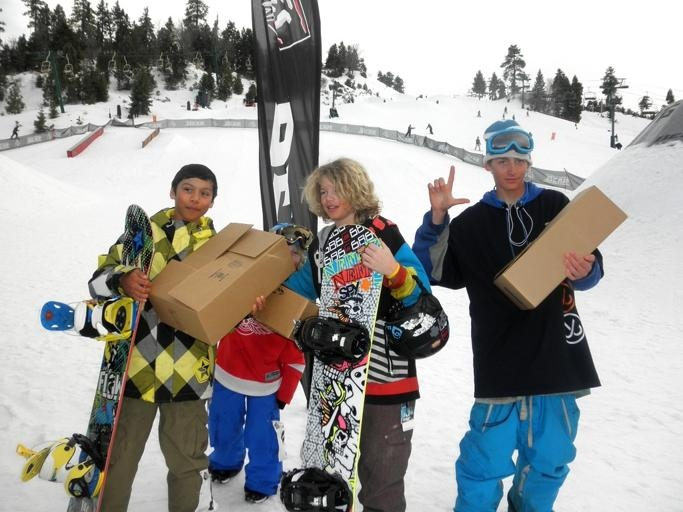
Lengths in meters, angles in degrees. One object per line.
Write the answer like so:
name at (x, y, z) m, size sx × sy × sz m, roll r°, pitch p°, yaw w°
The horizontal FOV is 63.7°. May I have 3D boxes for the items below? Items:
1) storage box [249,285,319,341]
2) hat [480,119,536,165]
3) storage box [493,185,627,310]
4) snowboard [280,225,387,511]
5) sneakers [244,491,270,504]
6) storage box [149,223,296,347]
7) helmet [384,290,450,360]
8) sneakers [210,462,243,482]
storage box at (-0.415, 0.416, 4.136) m, size 0.371 × 0.399 × 0.244 m, roll 26°, pitch -6°, yaw 19°
hat at (1.221, -0.828, 3.987) m, size 0.235 × 0.228 × 0.392 m, roll 0°, pitch 11°, yaw 5°
storage box at (1.521, -0.073, 3.813) m, size 0.874 × 0.790 × 0.239 m, roll -3°, pitch 12°, yaw -19°
snowboard at (-0.028, 0.764, 3.698) m, size 0.455 × 2.211 × 0.295 m, roll 8°, pitch -1°, yaw 19°
sneakers at (-0.704, 1.980, 4.523) m, size 0.130 × 0.043 × 0.087 m, roll 8°, pitch 13°, yaw 4°
storage box at (-0.846, 0.129, 4.130) m, size 0.723 × 0.440 × 1.050 m, roll 8°, pitch 38°, yaw 36°
helmet at (0.513, 0.446, 3.828) m, size 0.330 × 0.419 × 0.451 m, roll -16°, pitch 13°, yaw 8°
sneakers at (-0.998, 1.894, 4.833) m, size 0.271 × 0.123 × 0.118 m, roll 15°, pitch 19°, yaw -36°
